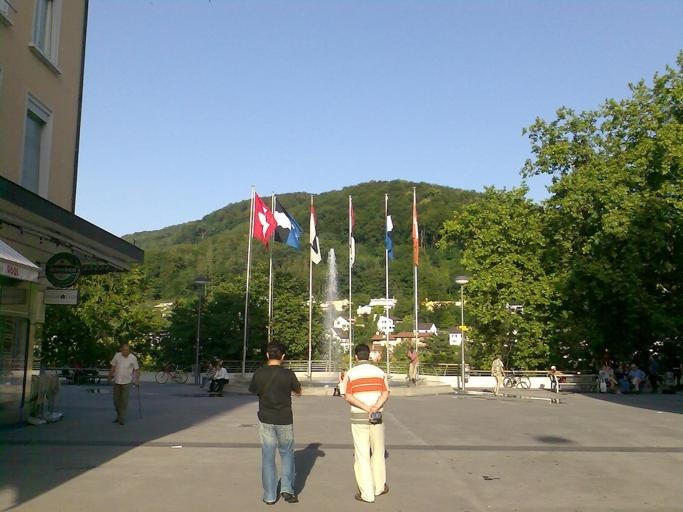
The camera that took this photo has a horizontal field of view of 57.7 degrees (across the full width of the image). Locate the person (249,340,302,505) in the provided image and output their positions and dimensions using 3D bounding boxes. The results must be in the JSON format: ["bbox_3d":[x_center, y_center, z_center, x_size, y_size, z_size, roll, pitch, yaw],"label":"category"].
[{"bbox_3d":[-1.027,2.573,9.690,0.734,2.462,0.319,1,-13,-8],"label":"person"}]

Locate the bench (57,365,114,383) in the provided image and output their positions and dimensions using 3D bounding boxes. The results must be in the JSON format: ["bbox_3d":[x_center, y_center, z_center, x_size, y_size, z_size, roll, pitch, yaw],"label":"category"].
[{"bbox_3d":[-15.272,7.090,36.565,2.726,1.120,3.391,5,-16,-25],"label":"bench"}]

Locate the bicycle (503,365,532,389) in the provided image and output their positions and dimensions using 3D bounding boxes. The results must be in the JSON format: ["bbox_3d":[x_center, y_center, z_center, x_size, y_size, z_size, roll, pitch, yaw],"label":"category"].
[{"bbox_3d":[9.951,7.037,35.123,1.355,0.908,0.717,-2,-2,22],"label":"bicycle"}]

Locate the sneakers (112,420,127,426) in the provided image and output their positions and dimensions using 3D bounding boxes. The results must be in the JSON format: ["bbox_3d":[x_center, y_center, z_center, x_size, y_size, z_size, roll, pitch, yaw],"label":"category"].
[{"bbox_3d":[-5.622,4.253,15.688,0.143,0.188,0.415,12,-21,-41],"label":"sneakers"}]

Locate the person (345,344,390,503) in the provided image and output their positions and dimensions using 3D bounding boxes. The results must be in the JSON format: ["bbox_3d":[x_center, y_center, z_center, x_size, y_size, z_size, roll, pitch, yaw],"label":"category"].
[{"bbox_3d":[0.417,2.682,10.141,0.713,2.461,0.922,-2,-13,3],"label":"person"}]

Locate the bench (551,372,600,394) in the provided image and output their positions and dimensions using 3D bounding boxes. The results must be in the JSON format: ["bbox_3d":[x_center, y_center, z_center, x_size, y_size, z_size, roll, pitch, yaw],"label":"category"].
[{"bbox_3d":[12.129,6.482,31.664,1.791,0.964,2.001,-8,-15,24],"label":"bench"}]

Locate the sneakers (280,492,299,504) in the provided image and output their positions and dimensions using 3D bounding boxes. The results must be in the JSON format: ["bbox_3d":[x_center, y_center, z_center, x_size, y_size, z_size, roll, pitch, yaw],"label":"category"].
[{"bbox_3d":[-0.801,3.714,9.494,0.314,0.147,0.117,11,-11,-21],"label":"sneakers"}]

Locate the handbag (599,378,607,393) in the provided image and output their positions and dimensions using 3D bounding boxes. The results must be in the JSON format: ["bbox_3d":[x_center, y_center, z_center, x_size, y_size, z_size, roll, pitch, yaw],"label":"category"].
[{"bbox_3d":[12.540,6.241,29.664,0.313,0.633,1.064,-6,-15,22],"label":"handbag"}]

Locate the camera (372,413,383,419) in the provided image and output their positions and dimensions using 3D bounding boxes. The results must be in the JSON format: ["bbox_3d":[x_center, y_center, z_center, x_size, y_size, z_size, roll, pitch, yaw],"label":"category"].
[{"bbox_3d":[0.572,2.546,9.802,0.090,0.125,0.242,-11,-17,35],"label":"camera"}]

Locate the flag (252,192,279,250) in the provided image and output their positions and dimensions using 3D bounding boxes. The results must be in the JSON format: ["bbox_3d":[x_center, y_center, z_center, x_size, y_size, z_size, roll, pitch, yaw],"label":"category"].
[{"bbox_3d":[-3.933,-2.115,31.751,1.170,2.724,2.991,1,-14,-8],"label":"flag"}]

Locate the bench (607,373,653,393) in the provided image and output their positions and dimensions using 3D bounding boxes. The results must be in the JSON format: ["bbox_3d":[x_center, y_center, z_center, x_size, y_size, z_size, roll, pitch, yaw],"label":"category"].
[{"bbox_3d":[13.705,6.070,29.689,1.873,1.025,1.979,-7,-15,23],"label":"bench"}]

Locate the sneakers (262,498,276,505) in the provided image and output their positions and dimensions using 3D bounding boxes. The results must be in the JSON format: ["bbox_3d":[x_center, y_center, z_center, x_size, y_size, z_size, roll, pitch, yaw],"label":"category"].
[{"bbox_3d":[-1.091,3.736,9.368,0.183,0.054,0.119,0,-14,-7],"label":"sneakers"}]
